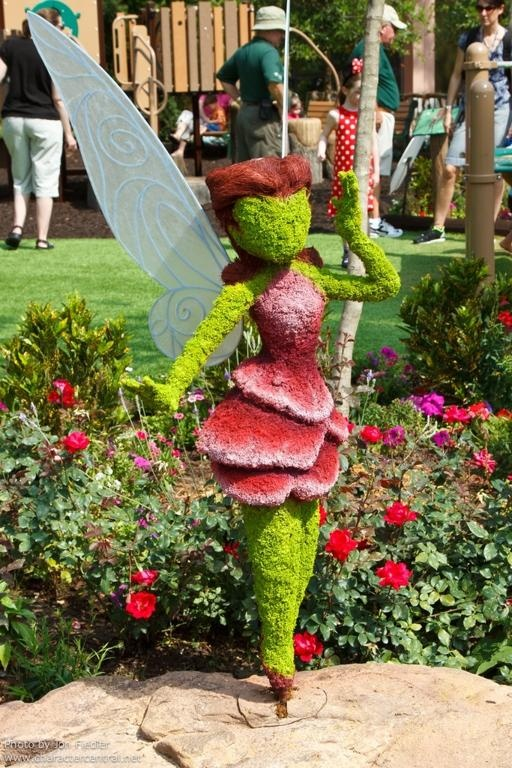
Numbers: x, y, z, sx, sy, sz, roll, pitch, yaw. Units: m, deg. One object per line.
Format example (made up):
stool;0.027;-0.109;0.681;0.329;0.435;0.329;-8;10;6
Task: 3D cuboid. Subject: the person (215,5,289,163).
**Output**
person;0.011;-2.101;5.783;0.430;0.998;1.191;-5;5;-8

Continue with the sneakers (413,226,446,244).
sneakers;1.707;-1.426;7.809;0.389;0.159;0.133;-10;39;-26

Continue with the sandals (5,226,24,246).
sandals;-2.006;-1.183;6.709;0.092;0.091;0.243;10;-27;-20

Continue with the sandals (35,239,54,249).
sandals;-1.787;-1.174;6.881;0.080;0.055;0.149;5;13;13
